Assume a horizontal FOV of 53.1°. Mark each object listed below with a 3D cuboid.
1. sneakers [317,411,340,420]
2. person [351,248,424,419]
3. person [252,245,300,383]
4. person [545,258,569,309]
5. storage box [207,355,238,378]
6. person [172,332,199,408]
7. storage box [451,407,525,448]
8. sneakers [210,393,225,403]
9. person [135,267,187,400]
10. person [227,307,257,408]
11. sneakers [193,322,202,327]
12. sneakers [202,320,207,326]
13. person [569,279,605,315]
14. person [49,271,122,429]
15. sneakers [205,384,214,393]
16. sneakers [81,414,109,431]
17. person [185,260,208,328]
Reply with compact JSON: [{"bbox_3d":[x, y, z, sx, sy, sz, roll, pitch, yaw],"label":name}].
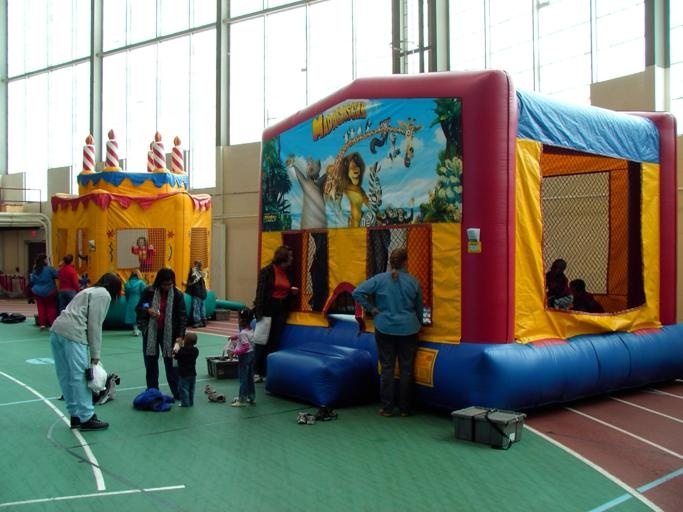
[{"bbox_3d":[-0.199,2.003,8.553,0.299,0.092,0.180,-2,5,-18],"label":"sneakers"},{"bbox_3d":[0.652,0.970,8.774,0.790,2.106,0.469,0,5,7],"label":"person"},{"bbox_3d":[-1.038,0.873,10.606,0.764,2.046,0.359,-3,5,-27],"label":"person"},{"bbox_3d":[3.331,0.456,10.536,0.437,0.777,0.516,3,4,15],"label":"person"},{"bbox_3d":[-1.877,1.701,10.617,0.339,0.244,0.354,0,-3,41],"label":"storage box"},{"bbox_3d":[-2.103,1.507,9.127,0.283,0.992,0.416,-1,5,-13],"label":"person"},{"bbox_3d":[1.674,1.939,7.773,0.575,0.331,0.424,3,4,38],"label":"storage box"},{"bbox_3d":[-1.720,1.937,9.304,0.219,0.114,0.142,-1,5,-12],"label":"sneakers"},{"bbox_3d":[-2.446,0.980,9.148,0.661,1.643,0.289,1,5,20],"label":"person"},{"bbox_3d":[-1.340,1.361,9.120,0.313,1.285,0.313,-1,5,-11],"label":"person"},{"bbox_3d":[-3.578,1.683,16.688,0.101,0.157,0.213,-8,-27,26],"label":"sneakers"},{"bbox_3d":[-3.413,1.671,16.779,0.102,0.131,0.114,3,-3,-10],"label":"sneakers"},{"bbox_3d":[3.918,0.640,11.049,0.681,0.492,0.545,-3,5,-26],"label":"person"},{"bbox_3d":[-3.131,1.235,8.047,0.636,1.726,0.347,1,5,11],"label":"person"},{"bbox_3d":[-1.846,1.838,9.425,0.099,0.082,0.146,4,-8,-5],"label":"sneakers"},{"bbox_3d":[-3.043,2.024,8.265,0.349,0.274,0.144,1,2,-19],"label":"sneakers"},{"bbox_3d":[-3.546,0.942,16.362,0.453,1.646,0.716,-2,5,-14],"label":"person"}]
